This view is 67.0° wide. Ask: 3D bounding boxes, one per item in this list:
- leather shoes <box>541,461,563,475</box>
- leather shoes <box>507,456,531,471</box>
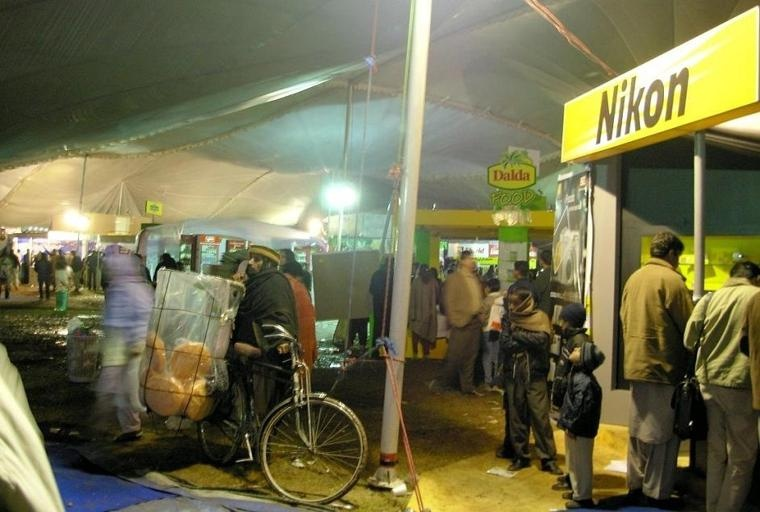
[{"bbox_3d":[2.042,2.508,6.874,0.223,0.211,0.111,-10,-12,31],"label":"leather shoes"},{"bbox_3d":[1.682,2.516,7.032,0.316,0.134,0.110,5,-3,-31],"label":"leather shoes"}]
